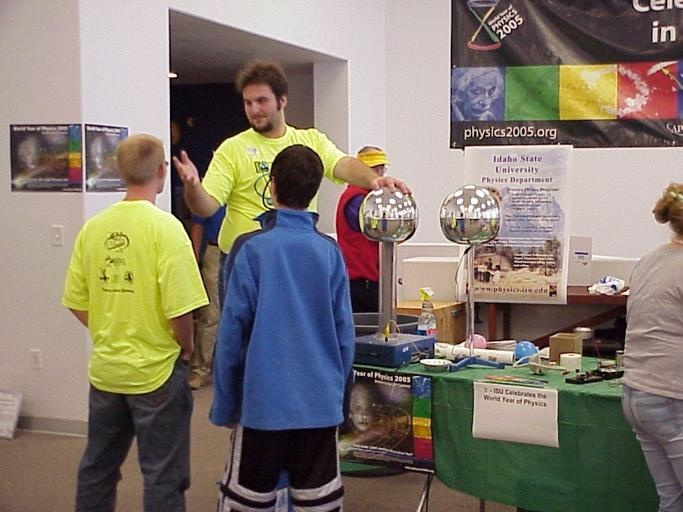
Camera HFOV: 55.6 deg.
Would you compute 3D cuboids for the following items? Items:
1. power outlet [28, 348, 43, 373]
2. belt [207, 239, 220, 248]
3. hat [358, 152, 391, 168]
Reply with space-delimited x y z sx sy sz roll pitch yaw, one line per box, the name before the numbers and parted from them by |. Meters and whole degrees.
power outlet | -2.296 0.778 4.870 0.099 0.167 0.010 1 4 14
belt | -1.045 -0.098 5.302 0.101 0.104 0.025 2 4 13
hat | 0.258 -0.700 4.759 0.205 0.099 0.290 -10 8 -42
